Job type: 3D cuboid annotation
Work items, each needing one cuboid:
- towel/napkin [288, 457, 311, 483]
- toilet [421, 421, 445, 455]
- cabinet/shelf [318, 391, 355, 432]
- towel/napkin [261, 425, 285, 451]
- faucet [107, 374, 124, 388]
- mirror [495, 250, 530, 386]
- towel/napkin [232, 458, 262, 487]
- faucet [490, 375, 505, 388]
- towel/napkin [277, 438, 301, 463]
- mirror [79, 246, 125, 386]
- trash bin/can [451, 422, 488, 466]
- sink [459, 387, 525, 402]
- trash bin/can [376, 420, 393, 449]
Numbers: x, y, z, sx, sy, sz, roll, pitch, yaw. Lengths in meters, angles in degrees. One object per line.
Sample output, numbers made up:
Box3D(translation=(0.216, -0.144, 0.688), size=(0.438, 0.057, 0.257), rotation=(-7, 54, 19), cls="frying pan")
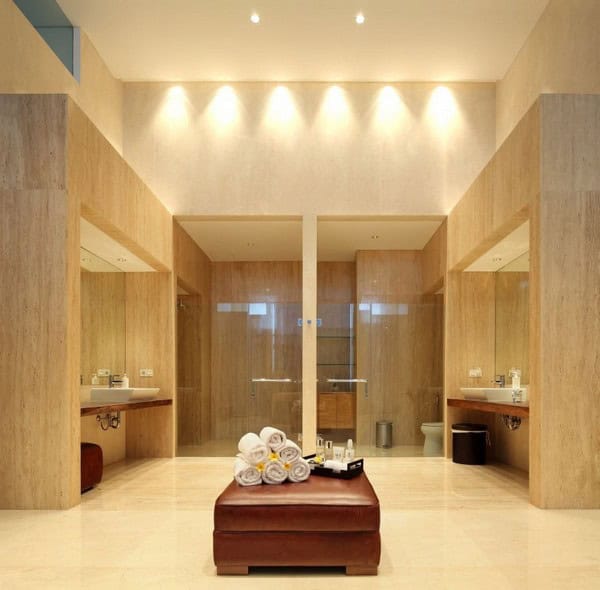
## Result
Box3D(translation=(-0.008, 0.981, 3.223), size=(0.094, 0.124, 0.129), rotation=(-1, -12, -4), cls="towel/napkin")
Box3D(translation=(1.572, 1.694, 6.737), size=(0.296, 0.352, 0.273), rotation=(-2, -4, 2), cls="toilet")
Box3D(translation=(0.465, 1.465, 7.127), size=(0.379, 0.427, 0.136), rotation=(-1, -11, 8), cls="cabinet/shelf")
Box3D(translation=(-0.152, 0.843, 3.225), size=(0.085, 0.090, 0.189), rotation=(8, -6, -16), cls="towel/napkin")
Box3D(translation=(-2.008, 0.922, 6.155), size=(0.145, 0.170, 0.109), rotation=(2, -9, -18), cls="faucet")
Box3D(translation=(2.514, -0.083, 6.713), size=(0.395, 1.345, 1.329), rotation=(0, 36, 23), cls="mirror")
Box3D(translation=(-0.285, 0.966, 3.121), size=(0.116, 0.144, 0.047), rotation=(4, -12, -5), cls="towel/napkin")
Box3D(translation=(2.208, 0.954, 6.365), size=(0.112, 0.159, 0.104), rotation=(2, -4, -8), cls="faucet")
Box3D(translation=(-0.062, 0.868, 3.225), size=(0.092, 0.124, 0.128), rotation=(-1, -5, -2), cls="towel/napkin")
Box3D(translation=(-2.150, 0.329, 6.024), size=(0.314, 1.181, 0.743), rotation=(-1, -6, 11), cls="mirror")
Box3D(translation=(1.842, 1.580, 6.142), size=(0.344, 0.402, 0.373), rotation=(2, -7, -15), cls="trash bin/can")
Box3D(translation=(1.994, 1.010, 5.811), size=(0.381, 0.139, 0.871), rotation=(1, -8, -9), cls="sink")
Box3D(translation=(1.024, 1.680, 6.957), size=(0.246, 0.422, 0.247), rotation=(1, -10, -4), cls="trash bin/can")
